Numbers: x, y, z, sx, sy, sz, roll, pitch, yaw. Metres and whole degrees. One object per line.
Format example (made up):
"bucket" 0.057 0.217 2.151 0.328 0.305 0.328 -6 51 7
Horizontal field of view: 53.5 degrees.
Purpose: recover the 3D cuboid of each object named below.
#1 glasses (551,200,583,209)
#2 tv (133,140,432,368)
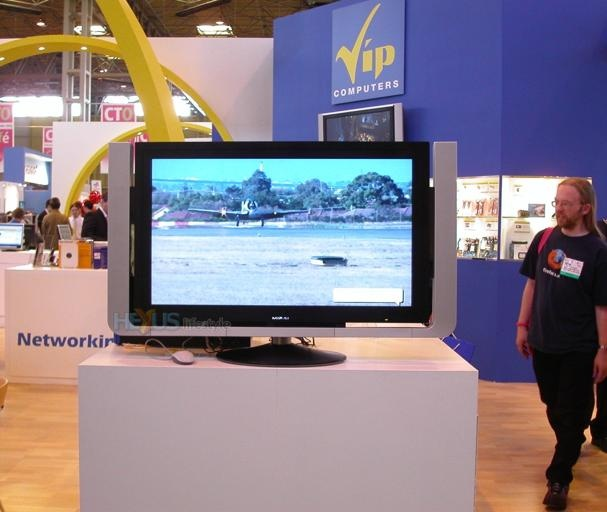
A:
"glasses" 1.419 -0.281 3.242 0.147 0.059 0.053 6 11 31
"tv" -0.091 -0.042 2.560 0.926 0.675 0.306 0 -1 0
